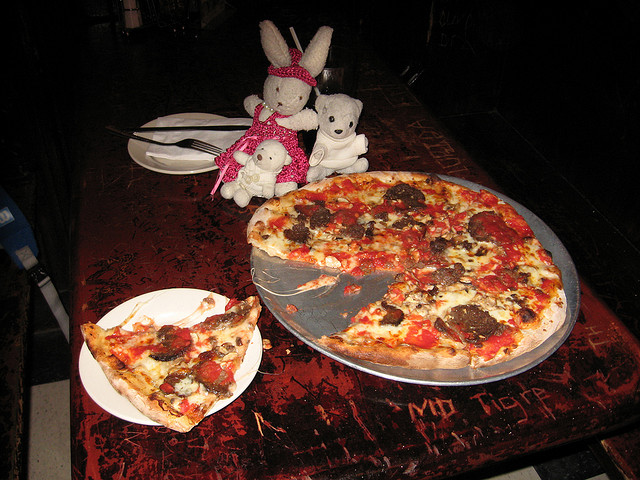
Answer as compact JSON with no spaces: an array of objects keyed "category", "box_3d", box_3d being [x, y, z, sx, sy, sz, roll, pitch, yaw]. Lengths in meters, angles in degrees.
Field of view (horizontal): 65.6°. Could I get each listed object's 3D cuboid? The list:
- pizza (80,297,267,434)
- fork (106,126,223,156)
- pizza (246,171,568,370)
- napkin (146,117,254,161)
[{"category":"pizza","box_3d":[-0.326,0.214,1.110,0.332,0.068,0.336,20,46,17]},{"category":"fork","box_3d":[-0.499,-0.324,1.635,0.472,0.048,0.048,9,47,6]},{"category":"pizza","box_3d":[0.232,0.039,1.385,0.800,0.114,0.848,-16,42,-24]},{"category":"napkin","box_3d":[-0.395,-0.323,1.612,0.281,0.071,0.216,6,29,17]}]
